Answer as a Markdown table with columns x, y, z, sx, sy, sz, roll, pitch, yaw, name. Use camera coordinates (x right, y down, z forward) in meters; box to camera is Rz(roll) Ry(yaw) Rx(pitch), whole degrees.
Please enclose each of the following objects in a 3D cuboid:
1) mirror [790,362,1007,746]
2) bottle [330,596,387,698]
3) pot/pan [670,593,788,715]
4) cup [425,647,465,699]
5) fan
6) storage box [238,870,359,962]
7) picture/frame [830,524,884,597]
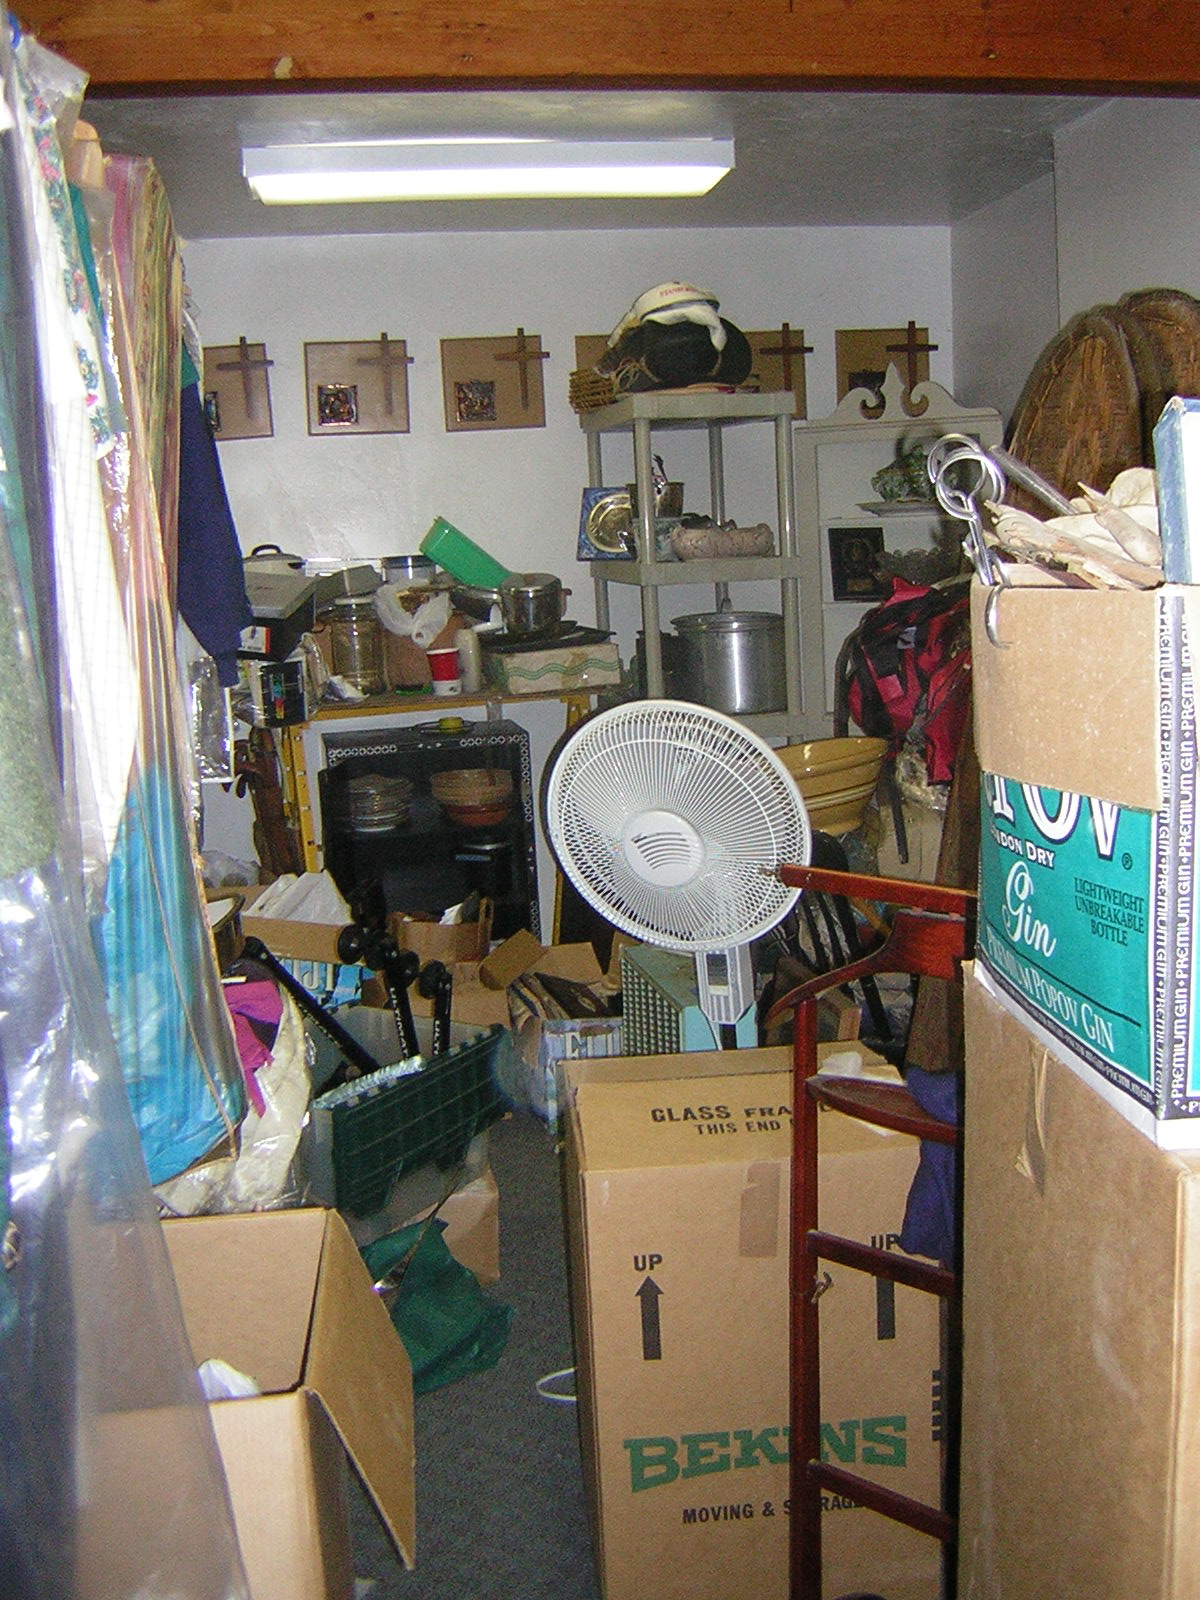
| x | y | z | sx | sy | sz | roll | pitch | yaw | name |
| --- | --- | --- | --- | --- | --- | --- | --- | --- | --- |
| 0.799 | -0.735 | 3.998 | 0.497 | 0.987 | 0.104 | -3 | 34 | -21 | mirror |
| -0.751 | -0.472 | 4.029 | 0.221 | 0.300 | 0.213 | -3 | 4 | 0 | bottle |
| 0.351 | -0.399 | 3.566 | 0.302 | 0.324 | 0.312 | 3 | 8 | 34 | pot/pan |
| -0.466 | -0.390 | 3.982 | 0.103 | 0.141 | 0.117 | -4 | 11 | -7 | cup |
| 0.118 | 0.119 | 1.581 | 0.310 | 0.527 | 0.184 | 2 | 25 | 22 | fan |
| -0.702 | 0.288 | 3.044 | 0.225 | 0.133 | 0.471 | -5 | 11 | -10 | storage box |
| 0.760 | -0.709 | 3.910 | 0.146 | 0.206 | 0.049 | -3 | 16 | -1 | picture/frame |
